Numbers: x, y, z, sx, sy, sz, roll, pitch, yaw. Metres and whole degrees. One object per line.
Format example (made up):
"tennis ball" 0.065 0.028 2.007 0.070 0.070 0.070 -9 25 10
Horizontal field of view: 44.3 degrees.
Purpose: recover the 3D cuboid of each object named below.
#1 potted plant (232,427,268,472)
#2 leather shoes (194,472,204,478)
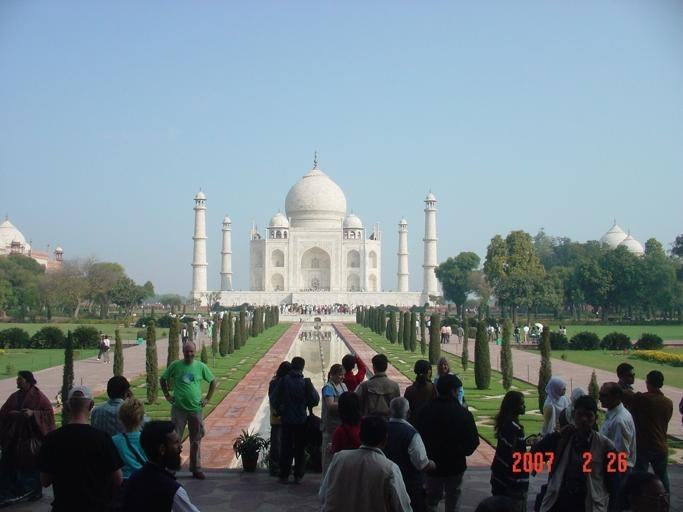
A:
"potted plant" -1.009 2.141 9.367 0.355 0.444 0.378 0 2 38
"leather shoes" -1.481 2.280 8.738 0.046 0.050 0.124 2 -6 -40
